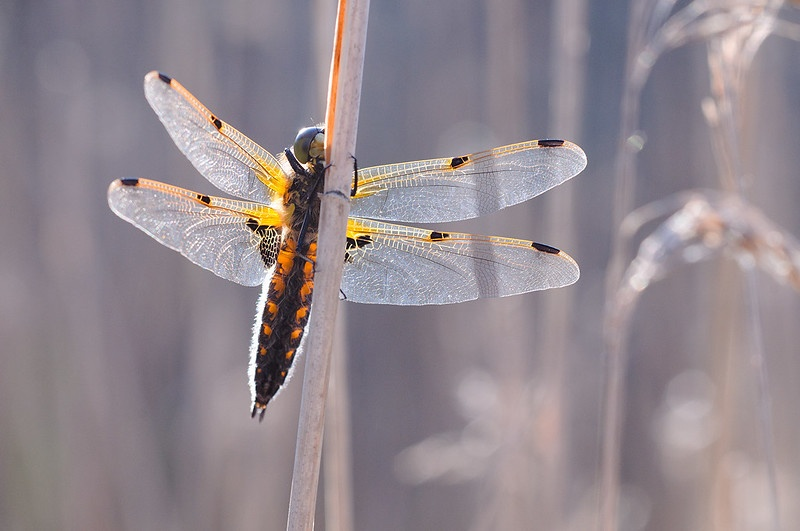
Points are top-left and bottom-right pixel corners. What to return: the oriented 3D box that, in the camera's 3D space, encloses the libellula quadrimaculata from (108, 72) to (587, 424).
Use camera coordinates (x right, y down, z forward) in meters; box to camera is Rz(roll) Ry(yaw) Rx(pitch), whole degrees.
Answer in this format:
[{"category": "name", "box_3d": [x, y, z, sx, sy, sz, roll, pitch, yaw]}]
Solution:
[{"category": "libellula quadrimaculata", "box_3d": [-0.165, 0.012, 1.763, 0.852, 0.540, 0.220, 9, -31, 6]}]
